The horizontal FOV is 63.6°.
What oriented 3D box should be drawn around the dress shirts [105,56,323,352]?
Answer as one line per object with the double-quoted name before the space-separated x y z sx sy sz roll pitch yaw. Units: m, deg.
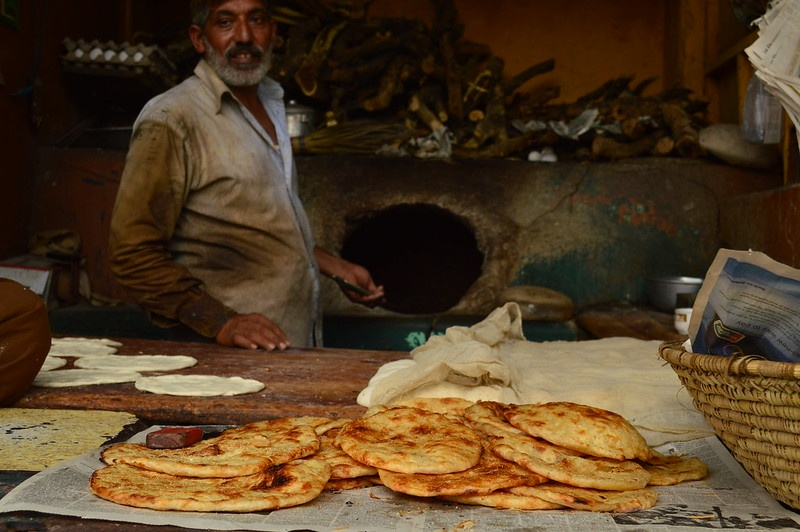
"dress shirts" -0.909 -0.269 3.302 0.615 1.522 0.874 8 10 17
